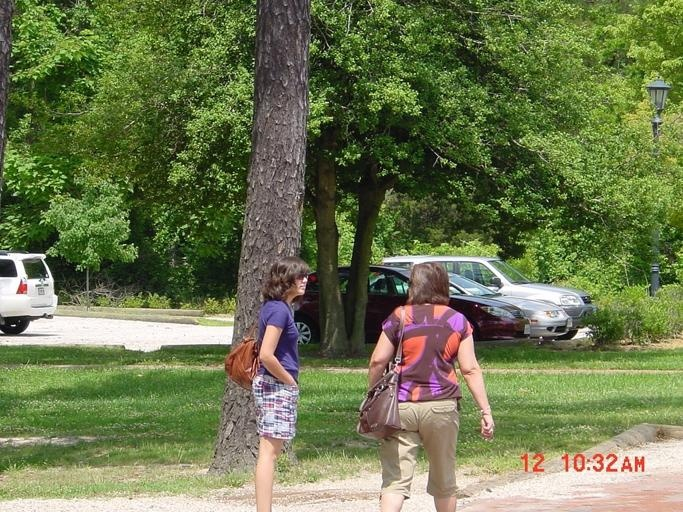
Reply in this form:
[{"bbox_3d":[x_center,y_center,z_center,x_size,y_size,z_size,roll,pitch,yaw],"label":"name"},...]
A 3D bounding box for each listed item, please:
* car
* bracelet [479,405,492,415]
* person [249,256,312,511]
[{"bbox_3d":[2.398,1.295,32.295,5.940,2.011,2.776,-1,0,5],"label":"car"},{"bbox_3d":[2.057,2.202,18.295,0.138,0.104,0.127,-3,-9,16],"label":"bracelet"},{"bbox_3d":[-0.923,1.879,18.873,0.783,3.753,0.390,0,-2,-5],"label":"person"}]
